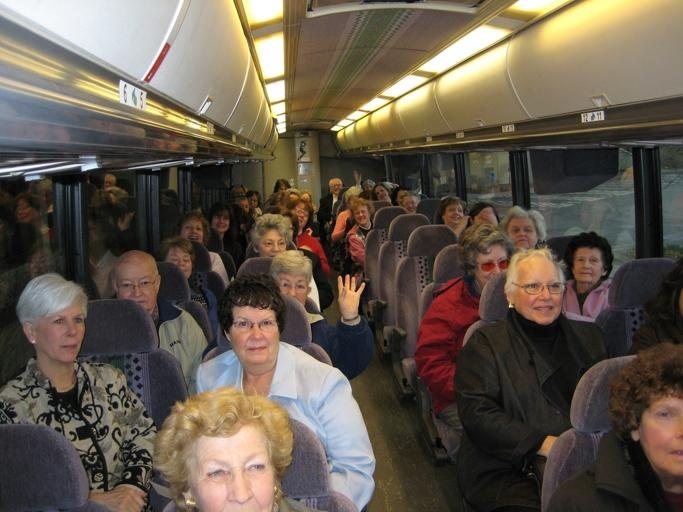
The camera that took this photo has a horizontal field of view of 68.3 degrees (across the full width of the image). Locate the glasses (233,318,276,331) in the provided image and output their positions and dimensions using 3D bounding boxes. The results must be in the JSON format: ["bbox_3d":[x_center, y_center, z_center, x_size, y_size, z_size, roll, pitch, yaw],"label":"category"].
[{"bbox_3d":[-0.463,0.367,2.710,0.216,0.052,0.064,-3,5,-10],"label":"glasses"}]
